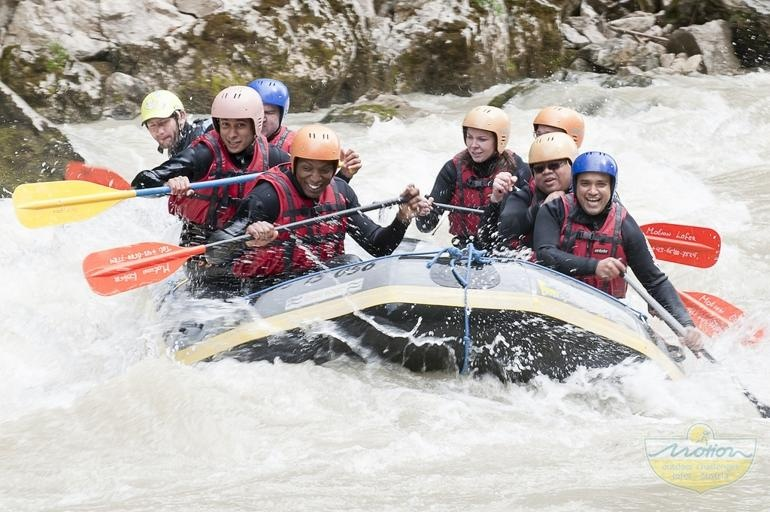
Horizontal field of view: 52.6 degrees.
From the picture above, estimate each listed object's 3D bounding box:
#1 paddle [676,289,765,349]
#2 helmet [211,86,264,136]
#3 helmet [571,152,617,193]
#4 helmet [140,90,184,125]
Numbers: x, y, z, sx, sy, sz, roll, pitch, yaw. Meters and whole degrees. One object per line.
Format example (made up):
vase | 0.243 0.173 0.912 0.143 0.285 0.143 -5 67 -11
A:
paddle | 2.763 0.499 6.676 0.289 0.126 0.897 -37 50 -22
helmet | -1.209 -1.225 6.514 0.357 0.305 0.419 6 25 12
helmet | 1.639 -0.659 6.102 0.293 0.317 0.324 4 6 13
helmet | -2.136 -1.444 7.549 0.320 0.194 0.407 -14 2 9
